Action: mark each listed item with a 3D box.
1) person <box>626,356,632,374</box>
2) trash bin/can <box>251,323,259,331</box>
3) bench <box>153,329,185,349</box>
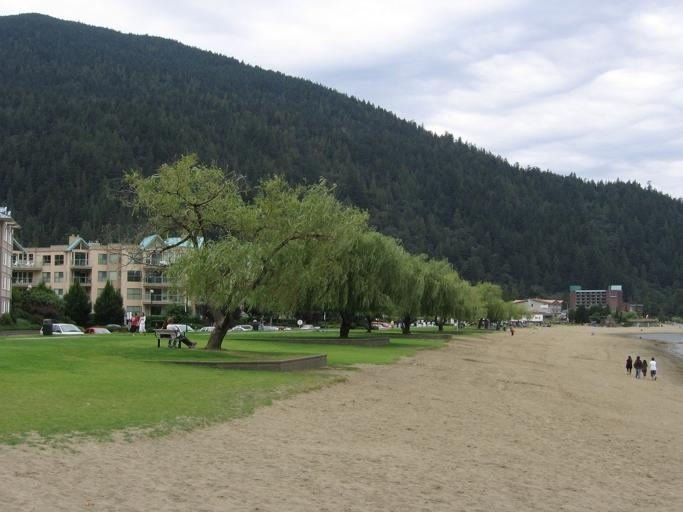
[{"bbox_3d":[20.478,7.857,56.135,0.353,1.171,2.029,1,-5,17],"label":"person"},{"bbox_3d":[-11.909,9.896,109.155,0.938,1.346,0.963,2,-7,-30],"label":"trash bin/can"},{"bbox_3d":[-10.189,4.932,46.393,1.431,1.130,0.603,0,4,11],"label":"bench"}]
